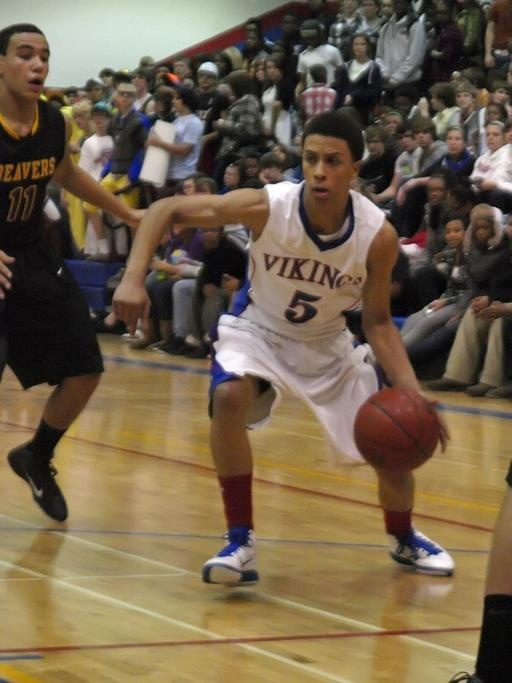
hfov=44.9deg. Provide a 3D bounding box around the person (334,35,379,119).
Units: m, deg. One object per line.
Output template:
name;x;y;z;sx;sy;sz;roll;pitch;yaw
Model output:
person;1.418;-3.584;8.529;0.597;1.266;0.623;4;1;-6

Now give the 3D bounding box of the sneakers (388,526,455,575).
sneakers;0.541;0.689;2.100;0.097;0.094;0.254;-14;12;-37

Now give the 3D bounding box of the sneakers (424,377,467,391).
sneakers;1.740;0.387;5.730;0.391;0.137;0.119;5;1;3

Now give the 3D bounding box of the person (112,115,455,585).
person;0.044;-0.004;1.950;0.958;1.392;0.585;4;1;-12

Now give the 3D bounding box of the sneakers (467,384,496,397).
sneakers;2.050;0.431;5.549;0.290;0.097;0.093;-6;9;-2

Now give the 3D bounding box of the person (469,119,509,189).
person;2.325;-1.845;6.147;0.336;0.761;0.600;4;1;18

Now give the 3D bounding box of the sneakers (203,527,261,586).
sneakers;-0.064;0.610;1.728;0.132;0.138;0.191;4;1;12

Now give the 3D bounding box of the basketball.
basketball;0.418;0.262;1.770;0.273;0.240;0.183;3;1;2

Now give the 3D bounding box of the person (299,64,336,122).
person;0.830;-3.429;8.508;0.523;0.752;0.443;4;1;44

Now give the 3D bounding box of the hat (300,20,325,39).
hat;0.842;-4.685;9.402;0.396;0.335;0.403;1;22;6

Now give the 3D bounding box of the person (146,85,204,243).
person;-1.064;-2.414;8.142;0.712;1.664;0.719;-17;39;-29
